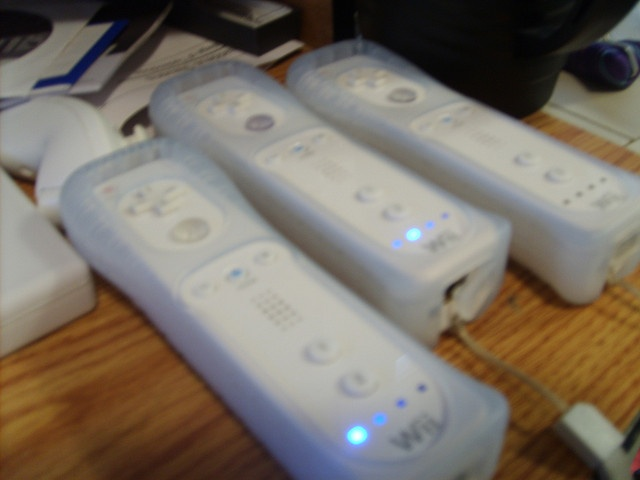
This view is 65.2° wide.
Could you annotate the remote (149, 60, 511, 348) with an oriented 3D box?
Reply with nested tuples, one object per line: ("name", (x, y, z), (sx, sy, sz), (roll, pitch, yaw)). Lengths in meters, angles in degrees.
("remote", (-0.014, -0.041, 0.437), (0.125, 0.093, 0.314), (-36, 64, -28))
